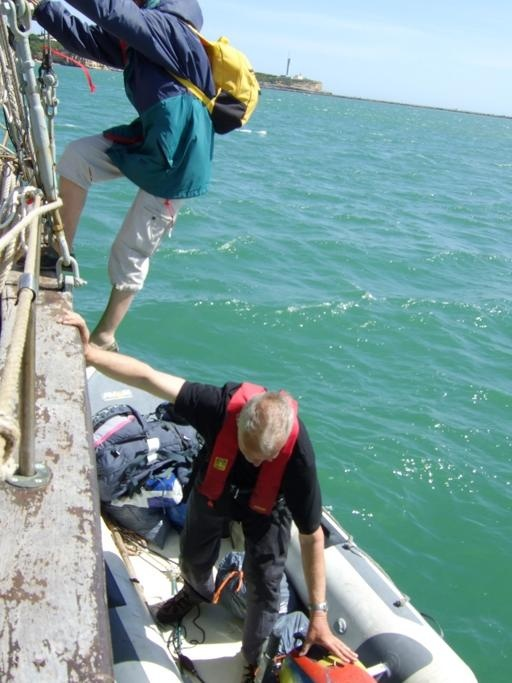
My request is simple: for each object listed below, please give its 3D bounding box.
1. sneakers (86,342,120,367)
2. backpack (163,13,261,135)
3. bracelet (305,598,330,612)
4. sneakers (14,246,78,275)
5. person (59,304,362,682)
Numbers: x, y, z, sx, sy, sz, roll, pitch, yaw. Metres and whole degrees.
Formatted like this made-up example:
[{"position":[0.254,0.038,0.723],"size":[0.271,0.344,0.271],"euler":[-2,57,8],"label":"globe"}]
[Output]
[{"position":[-0.793,0.054,3.051],"size":[0.143,0.118,0.353],"euler":[-4,2,-8],"label":"sneakers"},{"position":[-0.251,-1.463,3.282],"size":[0.542,0.453,0.363],"euler":[-8,37,-19],"label":"backpack"},{"position":[0.317,1.378,3.096],"size":[0.123,0.073,0.123],"euler":[-3,-10,-1],"label":"bracelet"},{"position":[-0.965,-0.374,2.657],"size":[0.199,0.163,0.064],"euler":[4,3,-1],"label":"sneakers"},{"position":[-0.144,1.046,3.254],"size":[1.646,1.748,0.530],"euler":[21,20,16],"label":"person"}]
